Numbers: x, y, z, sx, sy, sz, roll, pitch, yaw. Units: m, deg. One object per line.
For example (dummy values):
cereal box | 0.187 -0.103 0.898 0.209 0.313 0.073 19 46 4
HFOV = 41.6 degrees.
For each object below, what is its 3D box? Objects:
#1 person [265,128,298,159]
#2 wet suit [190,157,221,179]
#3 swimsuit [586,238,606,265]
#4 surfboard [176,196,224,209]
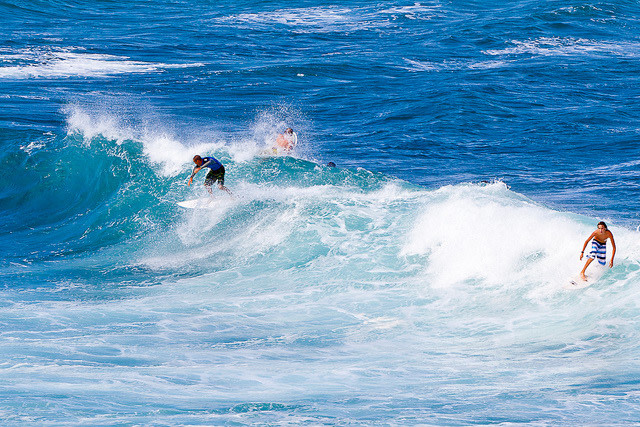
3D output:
person | -1.594 -2.688 34.088 1.055 1.405 1.552 -6 -13 22
wet suit | -3.988 -1.642 29.832 0.847 0.958 1.091 -3 -12 9
swimsuit | 8.412 1.153 25.321 0.514 0.720 0.598 -1 -12 1
surfboard | -4.177 -0.345 31.294 2.514 0.399 0.199 -2 -21 9
